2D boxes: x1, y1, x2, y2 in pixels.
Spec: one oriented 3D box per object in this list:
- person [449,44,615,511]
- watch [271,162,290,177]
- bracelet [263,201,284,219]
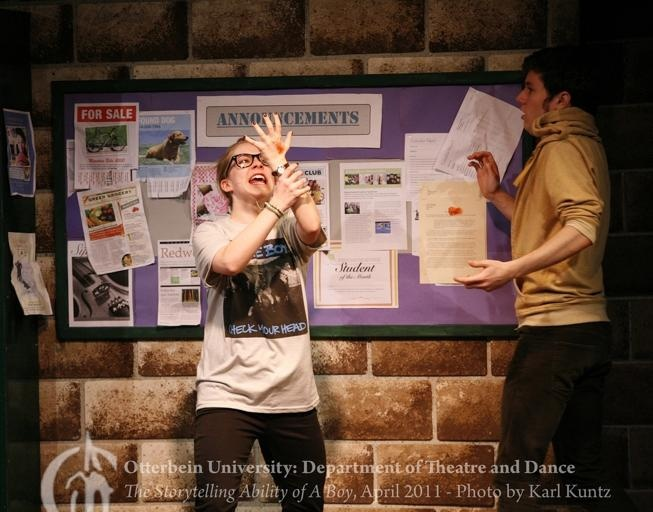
[{"bbox_3d":[0.908,0.161,3.711,0.549,1.991,0.669,1,12,16],"label":"person"},{"bbox_3d":[-0.177,-0.337,3.552,0.061,0.041,0.065,-4,-10,-9],"label":"watch"},{"bbox_3d":[-0.206,-0.182,3.523,0.064,0.022,0.056,40,-8,13],"label":"bracelet"}]
